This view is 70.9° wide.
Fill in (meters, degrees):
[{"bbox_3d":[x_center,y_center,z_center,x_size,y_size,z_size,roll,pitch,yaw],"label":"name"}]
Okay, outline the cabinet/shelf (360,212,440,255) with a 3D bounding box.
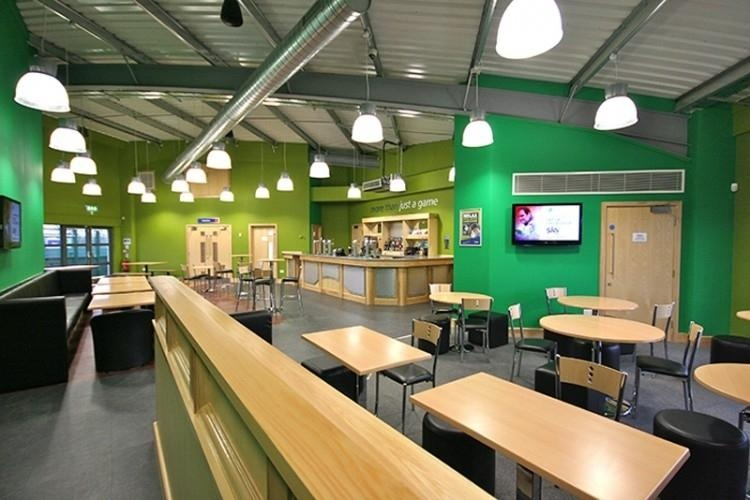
[{"bbox_3d":[0.676,-0.450,15.419,0.606,0.969,2.940,-2,0,-36],"label":"cabinet/shelf"}]
